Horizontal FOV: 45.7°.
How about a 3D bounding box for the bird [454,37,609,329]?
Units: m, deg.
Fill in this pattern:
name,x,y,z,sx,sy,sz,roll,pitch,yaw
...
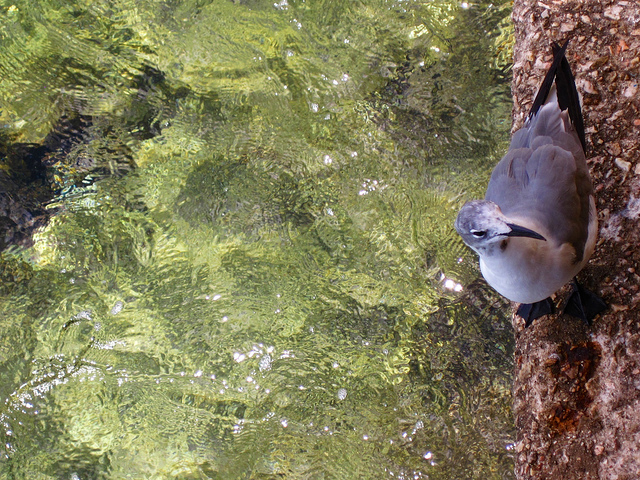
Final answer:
name,x,y,z,sx,sy,sz,roll,pitch,yaw
bird,1.002,-0.338,3.475,0.530,1.179,1.375,1,67,30
